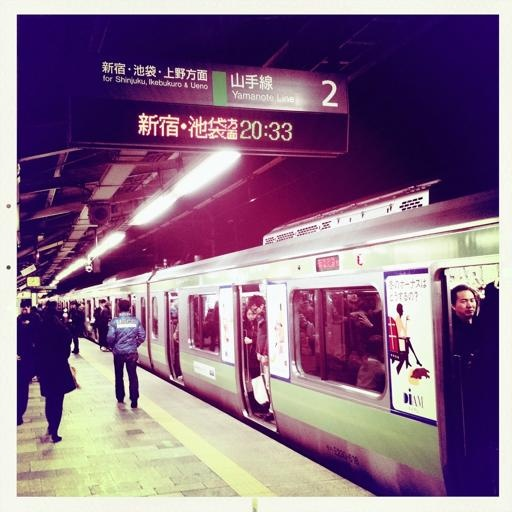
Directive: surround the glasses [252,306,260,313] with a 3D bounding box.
[{"bbox_3d":[0.002,0.777,6.639,0.066,0.095,0.033,5,-1,2],"label":"glasses"}]
